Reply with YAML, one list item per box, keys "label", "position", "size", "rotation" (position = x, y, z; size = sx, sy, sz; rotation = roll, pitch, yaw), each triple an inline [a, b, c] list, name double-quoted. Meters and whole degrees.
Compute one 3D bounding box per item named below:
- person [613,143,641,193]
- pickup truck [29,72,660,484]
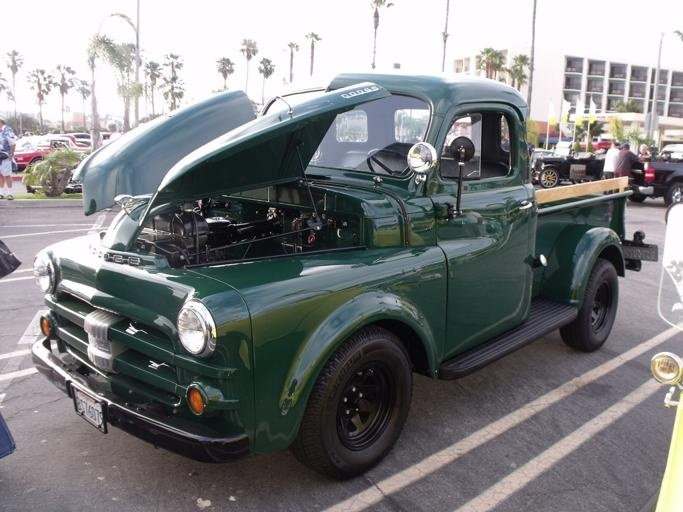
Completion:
- label: "person"
  position: [10.027, -3.189, 16.909]
  size: [0.518, 1.715, 0.711]
  rotation: [-31, 36, -16]
- label: "pickup truck"
  position: [0.274, -0.075, 4.139]
  size: [4.423, 2.040, 2.500]
  rotation: [-9, 11, -43]
